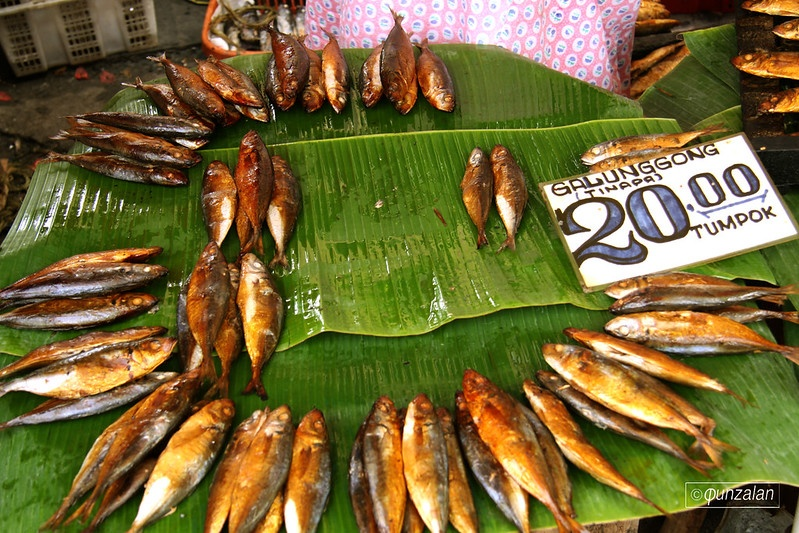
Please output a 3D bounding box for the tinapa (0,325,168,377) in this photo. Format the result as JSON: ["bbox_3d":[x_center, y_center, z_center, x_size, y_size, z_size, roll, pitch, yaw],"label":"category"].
[{"bbox_3d":[-2.166,0.597,4.440,0.616,0.113,0.178,-13,38,-15],"label":"tinapa"}]

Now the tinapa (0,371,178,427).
[{"bbox_3d":[-2.069,0.900,4.329,0.746,0.162,0.146,-15,104,-17],"label":"tinapa"}]
